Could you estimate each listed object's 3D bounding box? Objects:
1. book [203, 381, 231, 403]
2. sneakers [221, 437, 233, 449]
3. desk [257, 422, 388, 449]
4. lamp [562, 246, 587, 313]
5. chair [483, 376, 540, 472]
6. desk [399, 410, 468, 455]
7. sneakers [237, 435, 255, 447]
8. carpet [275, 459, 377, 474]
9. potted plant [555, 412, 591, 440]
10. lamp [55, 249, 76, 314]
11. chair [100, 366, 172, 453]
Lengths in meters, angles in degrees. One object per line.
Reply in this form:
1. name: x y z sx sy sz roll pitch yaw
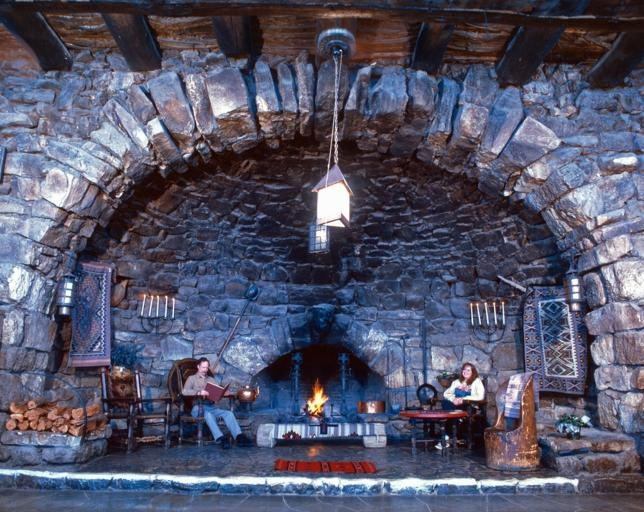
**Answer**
1. book: -1.613 1.943 7.542 0.442 0.325 0.093 13 9 -23
2. sneakers: -1.398 2.708 7.492 0.135 0.121 0.150 1 1 5
3. desk: -0.018 2.759 8.120 2.051 0.342 0.946 1 -8 -8
4. lamp: 3.427 0.346 7.022 0.247 0.814 0.229 -6 -12 30
5. chair: 2.178 1.909 5.973 0.587 1.075 0.260 -3 -10 16
6. desk: 1.638 2.487 7.516 0.881 0.662 1.964 -2 -8 11
7. sneakers: -1.165 2.758 7.751 0.265 0.171 0.216 1 -8 -7
8. carpet: 0.028 2.428 5.937 1.150 0.068 0.762 0 -7 -2
9. potted plant: 2.959 2.011 6.184 0.350 0.200 0.363 -11 -10 41
10. lamp: -3.460 0.364 6.976 0.224 0.867 0.431 4 -11 -24
11. chair: -2.801 2.238 7.671 0.978 1.136 1.973 3 -9 -20
